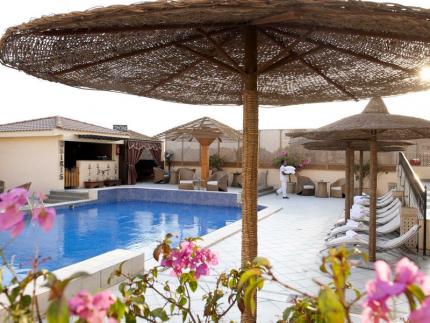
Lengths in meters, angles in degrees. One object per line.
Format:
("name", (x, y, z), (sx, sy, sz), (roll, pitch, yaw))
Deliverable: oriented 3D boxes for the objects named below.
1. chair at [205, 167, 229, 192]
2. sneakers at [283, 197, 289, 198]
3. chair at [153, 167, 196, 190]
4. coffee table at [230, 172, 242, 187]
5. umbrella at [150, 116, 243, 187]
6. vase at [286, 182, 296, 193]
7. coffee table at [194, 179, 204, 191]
("chair", (0.182, 1.020, 15.372), (0.931, 1.129, 1.098), (0, -1, 32))
("sneakers", (3.513, 1.790, 14.815), (0.215, 0.070, 0.106), (-1, 3, 5))
("chair", (-2.411, 1.018, 17.755), (2.240, 0.787, 1.368), (3, -1, 8))
("coffee table", (1.285, 1.104, 18.351), (0.950, 0.822, 0.907), (-1, 3, -23))
("umbrella", (-0.691, -0.779, 18.549), (5.275, 3.325, 5.215), (-1, 6, -9))
("vase", (4.292, 1.479, 16.984), (0.603, 0.465, 0.569), (0, -1, -13))
("coffee table", (-0.870, 1.342, 17.095), (0.696, 0.615, 0.653), (-2, 0, -6))
